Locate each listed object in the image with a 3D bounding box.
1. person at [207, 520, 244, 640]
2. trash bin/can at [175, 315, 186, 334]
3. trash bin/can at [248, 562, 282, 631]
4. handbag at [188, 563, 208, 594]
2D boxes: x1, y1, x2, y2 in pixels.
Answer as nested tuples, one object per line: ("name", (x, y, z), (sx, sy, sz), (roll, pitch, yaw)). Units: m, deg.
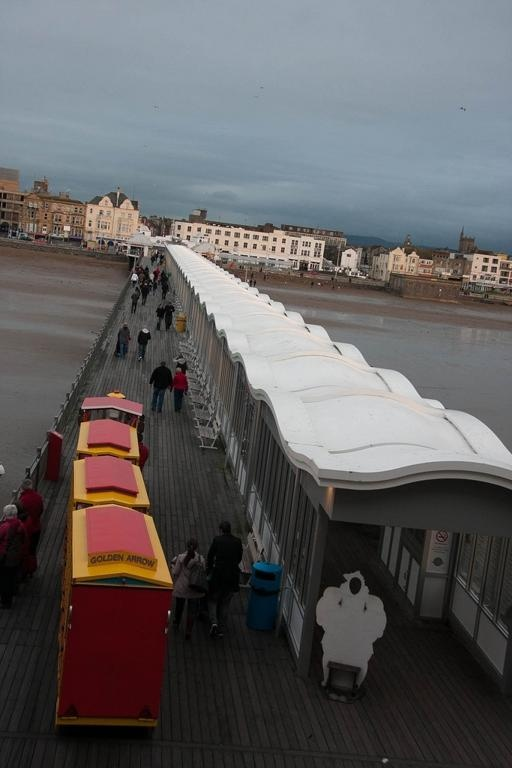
("person", (-0.462, 2.647, 5.790), (0.428, 1.254, 0.284), (11, -11, -18))
("trash bin/can", (-5.629, -4.450, 33.283), (1.075, 1.667, 1.151), (1, 5, -4))
("trash bin/can", (0.233, 3.021, 6.344), (0.404, 0.782, 0.478), (2, -3, 28))
("handbag", (-0.747, 2.532, 5.726), (0.131, 0.426, 0.337), (1, -13, 33))
